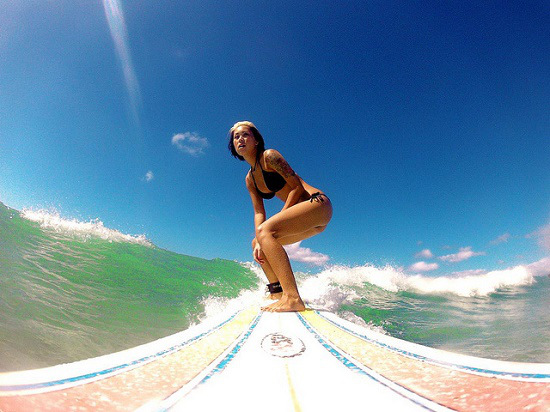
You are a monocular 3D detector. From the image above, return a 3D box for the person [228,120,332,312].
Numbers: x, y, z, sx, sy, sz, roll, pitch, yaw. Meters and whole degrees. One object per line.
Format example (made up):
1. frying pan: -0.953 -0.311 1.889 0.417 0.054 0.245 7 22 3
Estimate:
1. person: 0.067 0.115 4.793 1.452 2.919 0.953 4 -25 -19
